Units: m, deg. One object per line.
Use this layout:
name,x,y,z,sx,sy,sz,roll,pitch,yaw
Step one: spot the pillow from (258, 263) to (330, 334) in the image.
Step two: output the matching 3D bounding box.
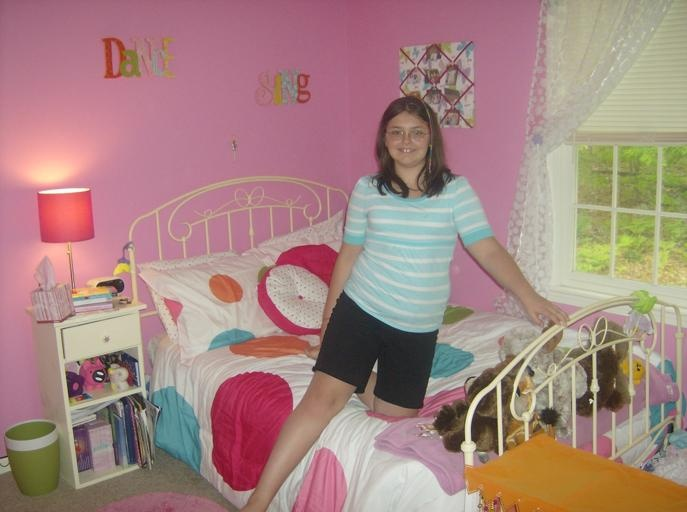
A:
pillow,-0.287,0.242,3.182,0.355,0.131,0.394,-4,54,-35

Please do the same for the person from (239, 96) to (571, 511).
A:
person,0.130,-0.006,2.650,1.157,1.351,1.776,21,40,37

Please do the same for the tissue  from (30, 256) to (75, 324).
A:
tissue ,-1.544,0.170,2.876,0.209,0.333,0.186,-7,12,-20

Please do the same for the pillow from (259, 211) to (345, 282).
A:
pillow,-0.254,-0.105,3.586,0.427,0.135,0.372,-23,38,-23

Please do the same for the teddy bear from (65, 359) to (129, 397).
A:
teddy bear,-1.386,0.665,3.082,0.173,0.173,0.313,-13,5,-40

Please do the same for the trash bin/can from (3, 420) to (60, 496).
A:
trash bin/can,-1.655,1.076,2.958,0.245,0.337,0.237,-10,13,-33

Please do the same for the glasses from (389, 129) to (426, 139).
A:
glasses,0.265,-0.499,2.259,0.160,0.046,0.036,-3,11,3

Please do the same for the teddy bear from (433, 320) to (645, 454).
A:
teddy bear,0.811,0.512,2.309,0.996,0.457,0.343,-10,13,-32
